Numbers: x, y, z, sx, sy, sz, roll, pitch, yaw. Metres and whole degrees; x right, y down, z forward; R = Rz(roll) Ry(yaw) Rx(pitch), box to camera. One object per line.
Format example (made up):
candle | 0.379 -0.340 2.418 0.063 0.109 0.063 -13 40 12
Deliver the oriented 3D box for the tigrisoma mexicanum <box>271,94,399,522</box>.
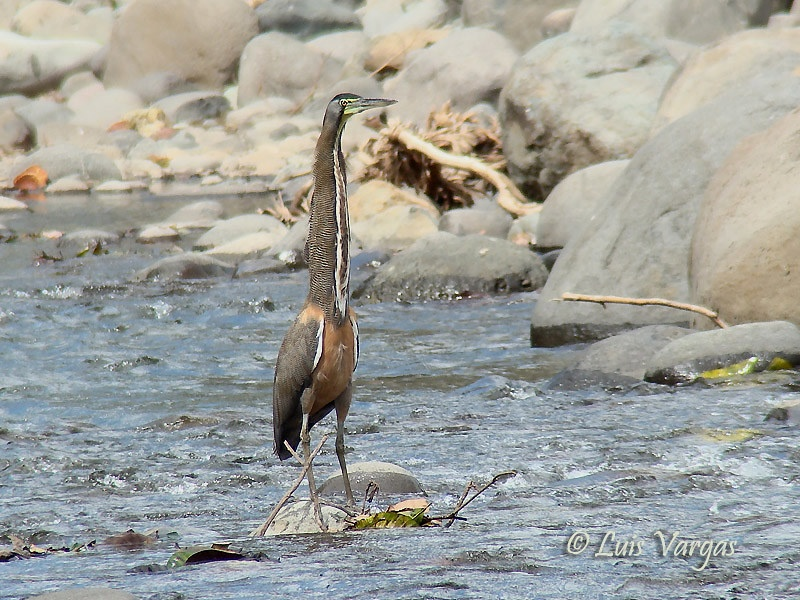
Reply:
tigrisoma mexicanum | -0.450 0.124 10.352 1.000 1.781 3.161 -5 92 -25
